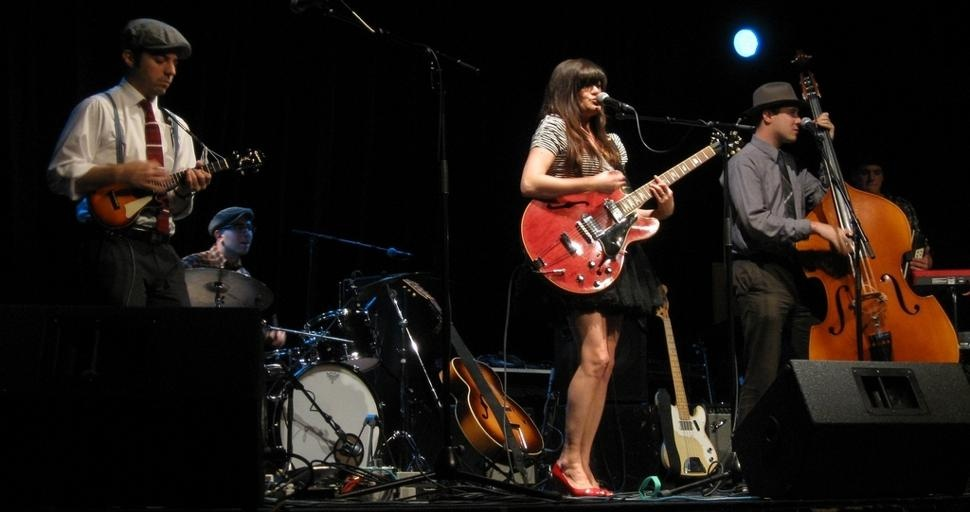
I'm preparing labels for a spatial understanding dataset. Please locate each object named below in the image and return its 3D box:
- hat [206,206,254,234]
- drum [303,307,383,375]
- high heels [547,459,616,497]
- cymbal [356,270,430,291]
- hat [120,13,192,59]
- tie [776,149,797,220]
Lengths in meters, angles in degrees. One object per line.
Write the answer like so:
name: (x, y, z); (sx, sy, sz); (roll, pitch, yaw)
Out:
hat: (-2.639, -0.396, 9.388); (0.334, 0.107, 0.297); (-20, -7, 16)
drum: (-1.471, 0.866, 9.451); (0.768, 0.558, 0.728); (-9, -11, -2)
high heels: (0.709, 1.773, 7.284); (0.578, 0.228, 0.189); (6, -21, 28)
cymbal: (-0.935, 0.245, 9.203); (1.187, 0.107, 0.456); (1, 6, 11)
hat: (-2.686, -1.757, 7.384); (0.529, 0.194, 0.390); (10, 0, 14)
tie: (2.679, -0.642, 8.097); (0.092, 0.511, 0.233); (-12, -11, 42)
